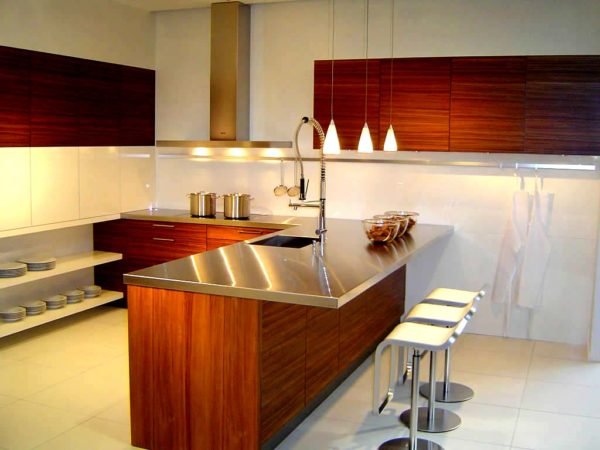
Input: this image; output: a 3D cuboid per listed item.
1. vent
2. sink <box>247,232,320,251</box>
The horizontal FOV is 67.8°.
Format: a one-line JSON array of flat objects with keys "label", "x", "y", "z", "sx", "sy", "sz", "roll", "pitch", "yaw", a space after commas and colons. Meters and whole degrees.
[{"label": "vent", "x": -0.843, "y": -1.810, "z": 5.287, "sx": 1.624, "sy": 1.587, "sz": 0.545, "roll": 4, "pitch": 8, "yaw": 29}, {"label": "sink", "x": -0.152, "y": 0.142, "z": 3.790, "sx": 0.228, "sy": 0.101, "sz": 0.298, "roll": 4, "pitch": 7, "yaw": 28}]
